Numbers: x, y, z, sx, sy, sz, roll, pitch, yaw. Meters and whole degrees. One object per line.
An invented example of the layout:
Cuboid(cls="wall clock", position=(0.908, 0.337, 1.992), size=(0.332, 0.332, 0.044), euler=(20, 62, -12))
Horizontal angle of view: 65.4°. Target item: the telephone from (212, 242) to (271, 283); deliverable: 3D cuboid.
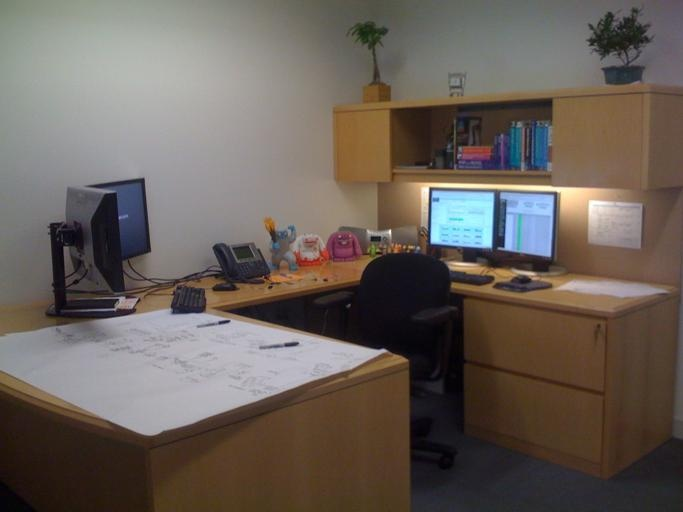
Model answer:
Cuboid(cls="telephone", position=(-0.619, 0.027, 3.284), size=(0.315, 0.122, 0.334), euler=(-5, 34, -42))

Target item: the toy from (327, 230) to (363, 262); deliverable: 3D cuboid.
Cuboid(cls="toy", position=(0.010, -0.093, 3.802), size=(0.293, 0.255, 0.180), euler=(-2, 4, -22))

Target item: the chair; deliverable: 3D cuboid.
Cuboid(cls="chair", position=(0.217, 0.477, 3.371), size=(1.126, 1.304, 1.006), euler=(1, 3, 34))

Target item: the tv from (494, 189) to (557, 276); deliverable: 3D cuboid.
Cuboid(cls="tv", position=(1.129, -0.156, 3.249), size=(0.488, 0.580, 0.222), euler=(6, 6, 38))

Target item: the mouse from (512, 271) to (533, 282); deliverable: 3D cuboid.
Cuboid(cls="mouse", position=(1.035, 0.125, 3.021), size=(0.093, 0.028, 0.067), euler=(-4, 5, -42))

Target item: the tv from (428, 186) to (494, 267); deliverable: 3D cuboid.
Cuboid(cls="tv", position=(0.794, -0.202, 3.491), size=(0.520, 0.532, 0.186), euler=(3, 2, 38))

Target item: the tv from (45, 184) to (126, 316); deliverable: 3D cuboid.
Cuboid(cls="tv", position=(-1.204, -0.031, 2.491), size=(0.317, 0.583, 0.530), euler=(-10, 16, -42))

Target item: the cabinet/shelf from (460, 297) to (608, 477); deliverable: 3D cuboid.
Cuboid(cls="cabinet/shelf", position=(1.054, 0.597, 3.061), size=(0.738, 0.953, 0.986), euler=(-4, 5, -43))

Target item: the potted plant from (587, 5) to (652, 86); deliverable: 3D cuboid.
Cuboid(cls="potted plant", position=(1.520, -1.147, 2.916), size=(0.326, 0.455, 0.454), euler=(5, 12, 28))

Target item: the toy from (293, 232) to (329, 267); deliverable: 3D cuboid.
Cuboid(cls="toy", position=(-0.214, -0.031, 3.595), size=(0.232, 0.189, 0.089), euler=(-2, 1, -27))
